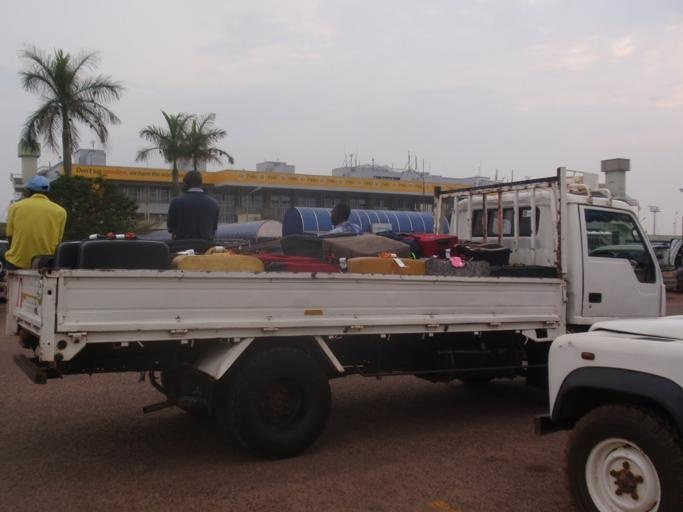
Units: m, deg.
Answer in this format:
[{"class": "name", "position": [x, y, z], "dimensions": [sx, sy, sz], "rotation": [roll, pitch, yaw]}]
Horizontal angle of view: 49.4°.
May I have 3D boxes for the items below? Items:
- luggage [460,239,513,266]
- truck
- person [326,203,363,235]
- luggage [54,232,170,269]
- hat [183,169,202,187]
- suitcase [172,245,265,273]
[{"class": "luggage", "position": [1.750, -0.047, 9.311], "dimensions": [0.451, 0.201, 0.363], "rotation": [12, 3, 29]}, {"class": "truck", "position": [-0.029, 0.627, 9.049], "dimensions": [8.151, 3.675, 3.284], "rotation": [0, 0, -31]}, {"class": "person", "position": [0.006, -0.509, 11.016], "dimensions": [0.384, 0.592, 0.969], "rotation": [-3, 0, 4]}, {"class": "luggage", "position": [-2.141, -0.025, 6.806], "dimensions": [1.039, 0.292, 0.594], "rotation": [0, 0, -5]}, {"class": "hat", "position": [-1.939, -1.003, 9.710], "dimensions": [0.205, 0.295, 0.277], "rotation": [4, 16, -9]}, {"class": "suitcase", "position": [-1.202, 0.032, 7.246], "dimensions": [0.872, 0.240, 0.949], "rotation": [0, 0, -15]}]
